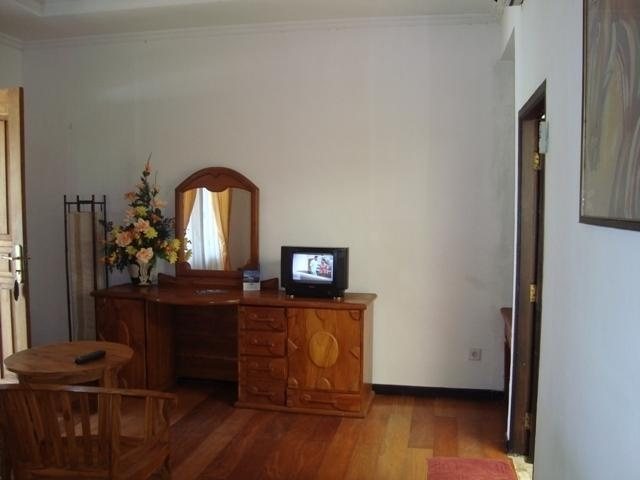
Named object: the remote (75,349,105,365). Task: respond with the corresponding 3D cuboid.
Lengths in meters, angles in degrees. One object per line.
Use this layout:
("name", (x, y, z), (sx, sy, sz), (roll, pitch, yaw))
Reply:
("remote", (-1.467, 0.746, 3.512), (0.056, 0.054, 0.203), (-4, -2, 26))

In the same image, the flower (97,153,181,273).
("flower", (-1.574, -0.032, 5.011), (0.572, 0.801, 0.615), (2, -7, 3))

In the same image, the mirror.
("mirror", (-0.901, -0.124, 4.942), (0.888, 1.433, 0.063), (2, 6, 12))

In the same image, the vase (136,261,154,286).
("vase", (-1.569, 0.292, 4.925), (0.156, 0.289, 0.179), (-2, 6, -17))

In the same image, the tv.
("tv", (-0.048, 0.258, 4.522), (0.631, 0.553, 0.358), (0, -2, 11))
